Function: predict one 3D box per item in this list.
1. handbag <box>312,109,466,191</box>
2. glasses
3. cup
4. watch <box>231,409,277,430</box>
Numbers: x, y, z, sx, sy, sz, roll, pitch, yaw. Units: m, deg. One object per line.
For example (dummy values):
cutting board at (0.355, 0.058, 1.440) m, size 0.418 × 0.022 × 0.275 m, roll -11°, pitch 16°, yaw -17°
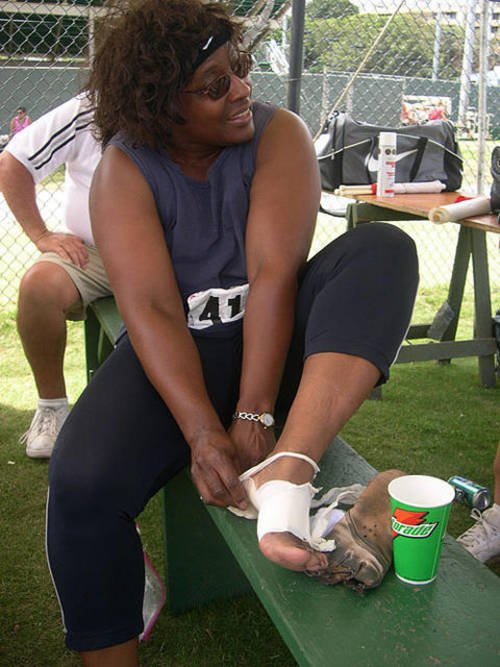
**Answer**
handbag at (0.732, -0.947, 3.036) m, size 0.911 × 0.446 × 0.461 m, roll -2°, pitch 26°, yaw -5°
glasses at (-0.056, -0.509, 1.168) m, size 0.129 × 0.038 × 0.122 m, roll 0°, pitch 49°, yaw 36°
cup at (0.225, 0.251, 0.752) m, size 0.079 × 0.153 × 0.122 m, roll 7°, pitch 26°, yaw 19°
watch at (0.013, 0.157, 1.054) m, size 0.048 × 0.019 × 0.040 m, roll 8°, pitch 3°, yaw 33°
